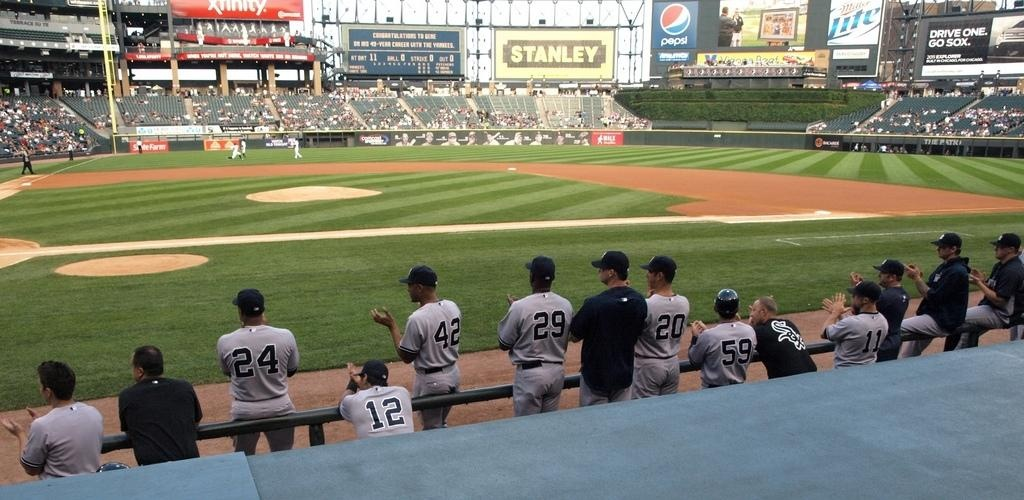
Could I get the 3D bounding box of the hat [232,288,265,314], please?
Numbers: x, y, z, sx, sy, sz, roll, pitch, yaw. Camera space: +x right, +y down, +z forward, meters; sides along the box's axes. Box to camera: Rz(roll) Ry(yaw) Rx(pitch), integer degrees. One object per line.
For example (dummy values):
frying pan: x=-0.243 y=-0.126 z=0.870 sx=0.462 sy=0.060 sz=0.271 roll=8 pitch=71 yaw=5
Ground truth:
hat: x=-10.100 y=1.902 z=29.875 sx=0.951 sy=0.626 sz=1.226 roll=-5 pitch=24 yaw=-28

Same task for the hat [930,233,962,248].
hat: x=17.671 y=-0.415 z=31.649 sx=1.199 sy=0.498 sz=0.767 roll=3 pitch=10 yaw=26
